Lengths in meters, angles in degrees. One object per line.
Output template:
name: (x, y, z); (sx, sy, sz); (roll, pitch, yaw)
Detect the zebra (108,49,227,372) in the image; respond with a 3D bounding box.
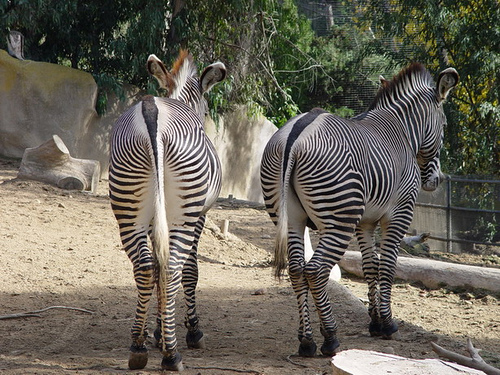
zebra: (-0.978, 0.248, 8.675); (1.256, 3.387, 1.470); (3, 12, -3)

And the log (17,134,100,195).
log: (-3.291, -0.285, 12.914); (1.168, 1.109, 0.901); (12, 13, -15)

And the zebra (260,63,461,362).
zebra: (1.580, 0.215, 9.908); (1.139, 3.616, 3.715); (3, 5, 41)
